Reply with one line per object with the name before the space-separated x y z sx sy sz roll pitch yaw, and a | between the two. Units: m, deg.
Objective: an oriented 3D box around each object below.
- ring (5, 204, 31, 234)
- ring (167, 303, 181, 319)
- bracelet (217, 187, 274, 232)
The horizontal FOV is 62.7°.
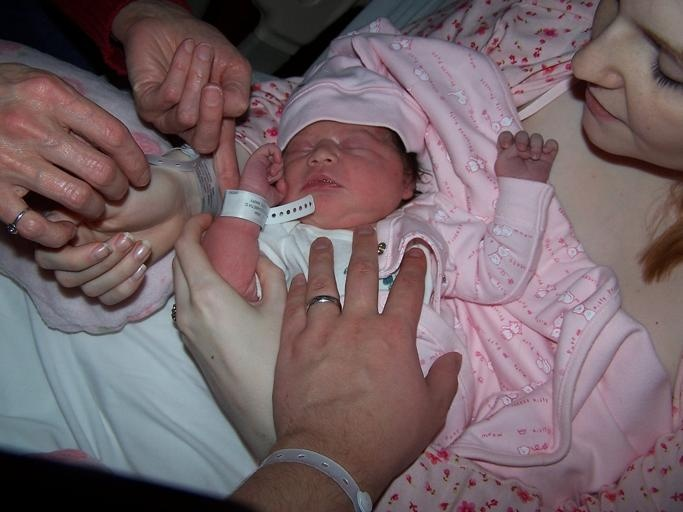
ring | -0.771 -0.086 1.336 0.036 0.067 0.060 37 25 17
ring | -0.500 0.166 1.671 0.020 0.046 0.065 -1 77 -4
bracelet | -0.295 -0.152 1.748 0.144 0.146 0.093 10 81 1
